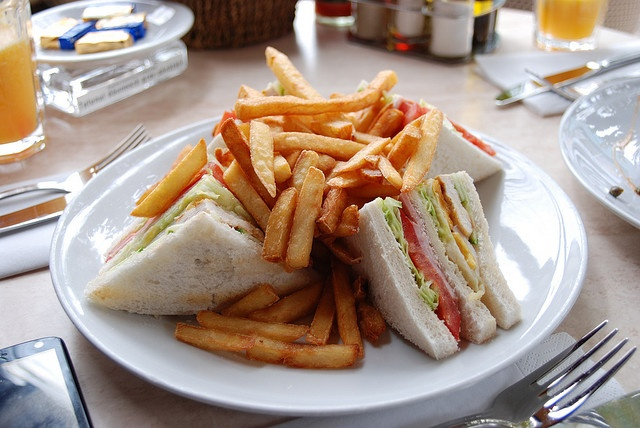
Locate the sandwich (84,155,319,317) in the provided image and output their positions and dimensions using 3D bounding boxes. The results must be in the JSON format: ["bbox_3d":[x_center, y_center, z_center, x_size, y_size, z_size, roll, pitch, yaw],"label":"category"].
[{"bbox_3d":[-0.408,0.160,1.590,0.544,0.187,0.485,4,36,30],"label":"sandwich"}]

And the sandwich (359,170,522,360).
[{"bbox_3d":[0.373,0.221,1.680,0.476,0.202,0.551,-10,61,-18],"label":"sandwich"}]

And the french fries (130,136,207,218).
[{"bbox_3d":[-0.571,-0.129,1.768,0.422,0.126,0.088,-46,40,0],"label":"french fries"}]
